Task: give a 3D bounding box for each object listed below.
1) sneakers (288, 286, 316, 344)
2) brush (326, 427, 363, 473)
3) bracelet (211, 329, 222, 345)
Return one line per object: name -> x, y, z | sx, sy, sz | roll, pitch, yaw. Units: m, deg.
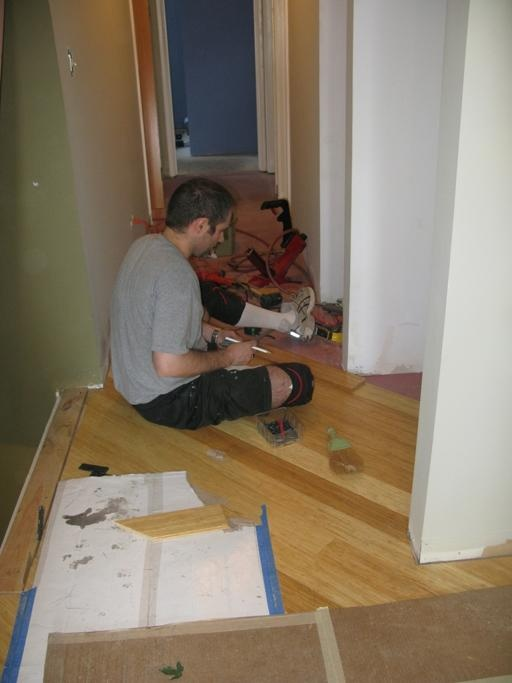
sneakers -> 0.285, -0.168, 3.121 | 0.117, 0.158, 0.352 | -20, 45, 42
brush -> 0.332, 0.423, 2.000 | 0.065, 0.047, 0.168 | -11, 26, -4
bracelet -> -0.194, -0.023, 2.551 | 0.065, 0.046, 0.070 | 3, -6, 4
